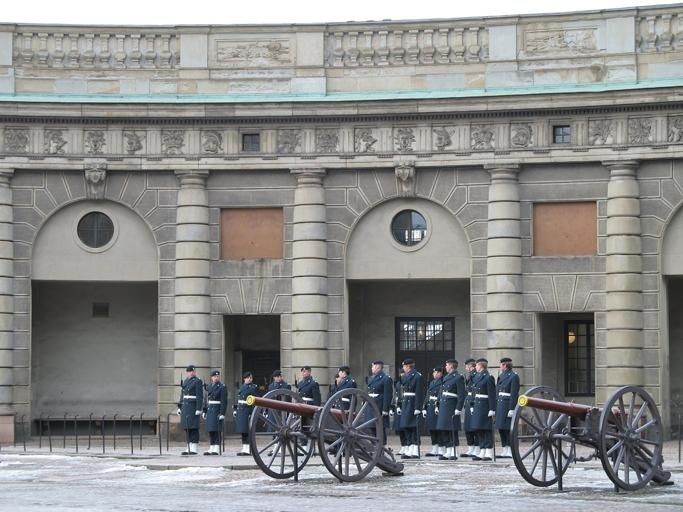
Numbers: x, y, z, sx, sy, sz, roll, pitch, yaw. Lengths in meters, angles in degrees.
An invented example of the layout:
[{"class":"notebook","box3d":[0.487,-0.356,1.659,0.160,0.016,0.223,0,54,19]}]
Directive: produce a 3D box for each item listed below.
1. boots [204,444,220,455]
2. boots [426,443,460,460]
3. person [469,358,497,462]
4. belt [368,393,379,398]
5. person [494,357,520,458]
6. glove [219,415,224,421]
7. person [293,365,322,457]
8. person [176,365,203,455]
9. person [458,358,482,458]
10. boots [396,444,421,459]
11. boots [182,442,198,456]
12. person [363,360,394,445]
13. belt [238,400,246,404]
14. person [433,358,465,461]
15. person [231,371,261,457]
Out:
[{"class":"boots","box3d":[-3.246,5.030,51.371,0.395,0.255,0.621,0,-7,-4]},{"class":"boots","box3d":[2.660,4.986,50.452,1.070,0.449,0.335,2,0,43]},{"class":"person","box3d":[3.626,3.918,49.874,0.582,2.408,0.715,2,1,4]},{"class":"belt","box3d":[0.923,3.562,50.823,0.219,0.131,0.270,1,-7,-11]},{"class":"person","box3d":[4.177,3.792,49.489,0.619,2.518,0.967,1,-2,-23]},{"class":"glove","box3d":[-2.990,4.200,51.508,0.082,0.143,0.234,-2,-7,17]},{"class":"person","box3d":[-0.745,3.906,51.313,0.691,1.879,0.596,-3,-2,25]},{"class":"person","box3d":[-3.864,4.061,52.179,0.538,2.348,0.782,5,-8,-42]},{"class":"person","box3d":[3.281,3.887,50.150,0.477,2.180,0.630,2,1,14]},{"class":"boots","box3d":[1.798,5.032,50.579,0.619,0.442,0.233,1,-13,6]},{"class":"boots","box3d":[-3.896,5.035,51.701,0.494,0.341,0.226,4,-6,11]},{"class":"person","box3d":[1.200,3.730,51.007,0.589,2.061,0.705,0,-1,-36]},{"class":"belt","box3d":[-2.455,3.782,51.487,0.105,0.098,0.417,3,-7,-21]},{"class":"person","box3d":[2.820,3.879,50.264,0.695,2.597,0.951,-2,-7,15]},{"class":"person","box3d":[-2.409,4.082,51.578,0.790,2.080,0.665,-3,-3,17]}]
